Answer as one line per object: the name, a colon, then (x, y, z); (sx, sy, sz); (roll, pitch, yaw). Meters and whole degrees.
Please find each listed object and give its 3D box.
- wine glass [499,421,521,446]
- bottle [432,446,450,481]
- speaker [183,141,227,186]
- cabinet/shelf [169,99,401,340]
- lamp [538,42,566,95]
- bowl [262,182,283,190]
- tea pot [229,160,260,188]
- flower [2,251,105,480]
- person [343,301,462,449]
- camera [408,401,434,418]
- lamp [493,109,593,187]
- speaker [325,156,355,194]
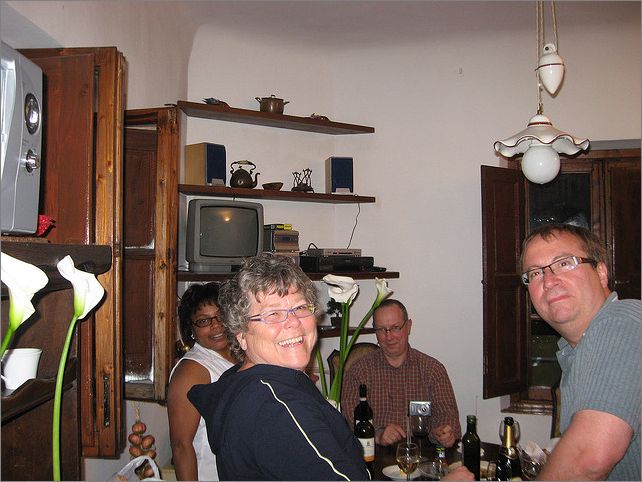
wine glass: (0.783, 0.790, 2.364); (0.067, 0.138, 0.170); (3, -2, 15)
bottle: (0.530, 0.969, 2.520); (0.072, 0.153, 0.177); (3, -2, 12)
speaker: (-0.862, -0.554, 4.216); (0.248, 0.327, 0.260); (0, 1, 13)
cabinet/shelf: (-0.272, -0.177, 3.905); (1.791, 1.797, 0.563); (0, 2, -23)
lamp: (1.234, -0.921, 3.050); (0.127, 0.273, 0.141); (2, -6, -18)
bowl: (-0.375, -0.418, 4.362); (0.141, 0.078, 0.147); (4, -1, 0)
tea pot: (-0.568, -0.506, 4.365); (0.259, 0.272, 0.179); (2, -5, -25)
flower: (-0.832, 0.390, 1.725); (0.278, 0.655, 0.257); (4, -2, -25)
person: (0.451, 0.950, 3.421); (0.759, 1.141, 0.691); (-2, -2, 18)
camera: (0.462, 0.790, 2.661); (0.101, 0.076, 0.064); (1, -11, -2)
lamp: (1.164, -0.515, 3.003); (0.454, 0.413, 0.317); (4, -2, -27)
speaker: (0.167, -0.523, 4.692); (0.307, 0.303, 0.319); (1, -3, -16)
